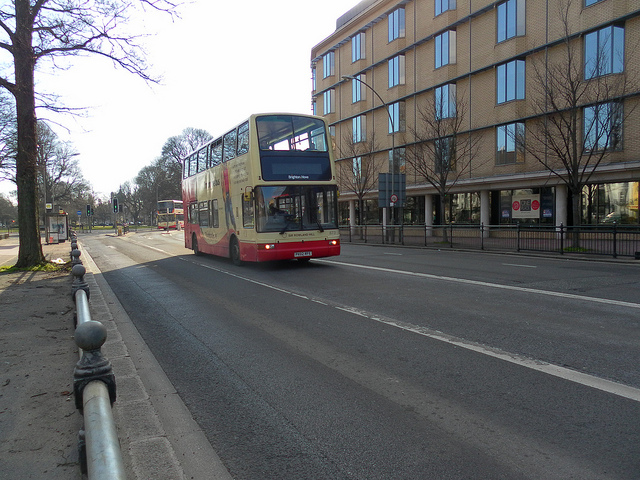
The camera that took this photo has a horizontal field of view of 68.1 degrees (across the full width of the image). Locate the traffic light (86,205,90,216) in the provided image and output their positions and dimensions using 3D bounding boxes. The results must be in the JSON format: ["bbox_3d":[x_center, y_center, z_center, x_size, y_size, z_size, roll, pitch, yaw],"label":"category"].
[{"bbox_3d":[-26.765,-3.381,54.544,0.213,0.950,0.478,-4,7,-23],"label":"traffic light"}]

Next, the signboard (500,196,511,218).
[{"bbox_3d":[11.702,-2.081,30.027,0.111,1.360,0.999,-3,7,-19],"label":"signboard"}]

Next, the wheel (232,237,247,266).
[{"bbox_3d":[-3.015,0.511,16.902,0.182,0.850,0.753,-7,14,-19],"label":"wheel"}]

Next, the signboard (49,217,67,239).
[{"bbox_3d":[-19.979,-0.853,35.907,0.761,1.712,1.545,-1,7,-1],"label":"signboard"}]

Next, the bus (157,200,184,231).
[{"bbox_3d":[-21.231,-3.514,67.313,3.536,4.174,7.214,-4,7,-23],"label":"bus"}]

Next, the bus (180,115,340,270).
[{"bbox_3d":[-3.308,-1.677,19.325,2.934,5.445,9.672,-4,2,-31],"label":"bus"}]

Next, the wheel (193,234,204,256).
[{"bbox_3d":[-5.659,0.189,21.876,0.308,1.028,0.879,0,0,-36],"label":"wheel"}]

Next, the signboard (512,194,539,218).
[{"bbox_3d":[12.407,-2.042,28.656,0.080,1.413,1.765,-5,8,-31],"label":"signboard"}]
